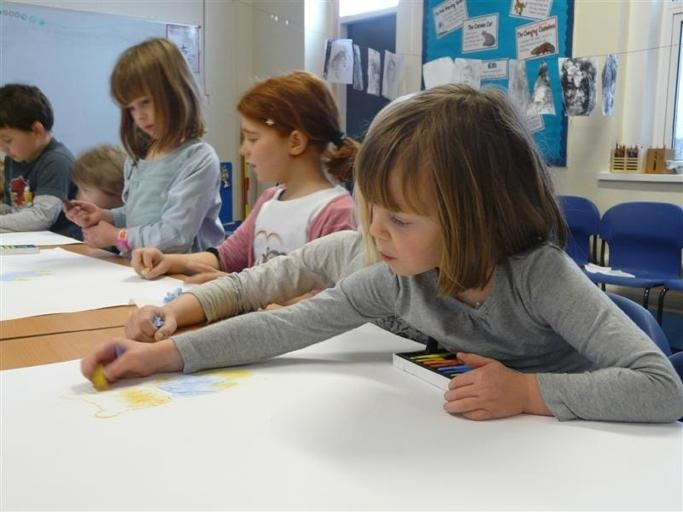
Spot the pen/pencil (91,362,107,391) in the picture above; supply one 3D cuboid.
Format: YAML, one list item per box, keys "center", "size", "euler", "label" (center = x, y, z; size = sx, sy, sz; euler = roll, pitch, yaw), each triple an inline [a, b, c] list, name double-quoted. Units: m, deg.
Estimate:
- center: [-0.355, 0.177, 0.802]
  size: [0.020, 0.035, 0.009]
  euler: [-4, -26, -43]
  label: "pen/pencil"

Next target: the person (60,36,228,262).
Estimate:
- center: [-0.682, -0.294, 1.930]
  size: [0.573, 0.881, 0.522]
  euler: [-12, 20, -39]
  label: "person"
